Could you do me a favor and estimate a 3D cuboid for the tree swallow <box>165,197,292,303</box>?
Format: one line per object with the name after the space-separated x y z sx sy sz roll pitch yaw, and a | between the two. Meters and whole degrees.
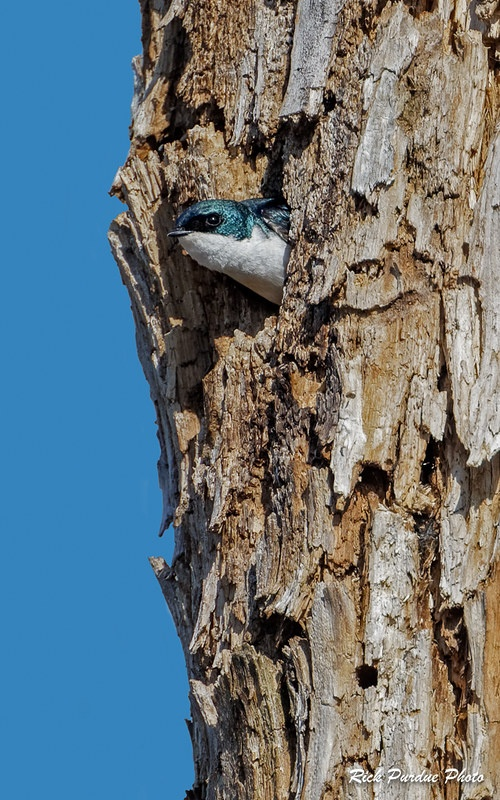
-0.059 -0.562 7.287 0.249 0.264 0.450 -31 -23 32 | tree swallow
